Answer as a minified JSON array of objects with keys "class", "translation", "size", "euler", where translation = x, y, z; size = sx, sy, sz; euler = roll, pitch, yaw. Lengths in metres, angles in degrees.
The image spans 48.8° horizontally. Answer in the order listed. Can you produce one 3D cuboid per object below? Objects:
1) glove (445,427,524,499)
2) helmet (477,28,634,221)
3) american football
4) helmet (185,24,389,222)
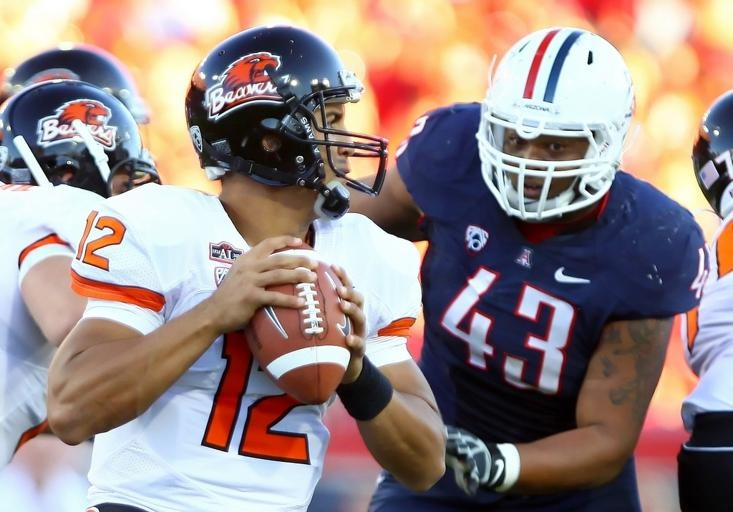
[{"class":"glove","translation":[0.340,0.662,2.497],"size":[0.324,0.144,0.223],"euler":[6,-9,-27]},{"class":"helmet","translation":[0.634,-0.474,2.686],"size":[0.449,0.567,0.583],"euler":[9,28,15]},{"class":"american football","translation":[-0.162,0.223,2.045],"size":[0.273,0.260,0.411],"euler":[-2,33,-18]},{"class":"helmet","translation":[-0.216,-0.360,2.262],"size":[0.553,0.510,0.459],"euler":[-2,6,3]}]
